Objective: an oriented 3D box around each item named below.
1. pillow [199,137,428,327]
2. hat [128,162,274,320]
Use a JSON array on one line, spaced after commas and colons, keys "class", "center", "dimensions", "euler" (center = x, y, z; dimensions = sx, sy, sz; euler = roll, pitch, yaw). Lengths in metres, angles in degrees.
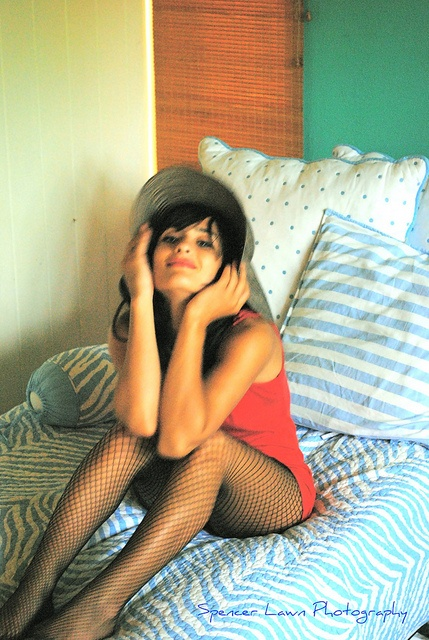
[{"class": "pillow", "center": [0.242, -0.223, 1.534], "dimensions": [0.549, 0.533, 0.164], "euler": [18, -2, 27]}, {"class": "hat", "center": [-0.012, -0.143, 0.903], "dimensions": [0.173, 0.244, 0.074], "euler": [-11, 16, 37]}]
